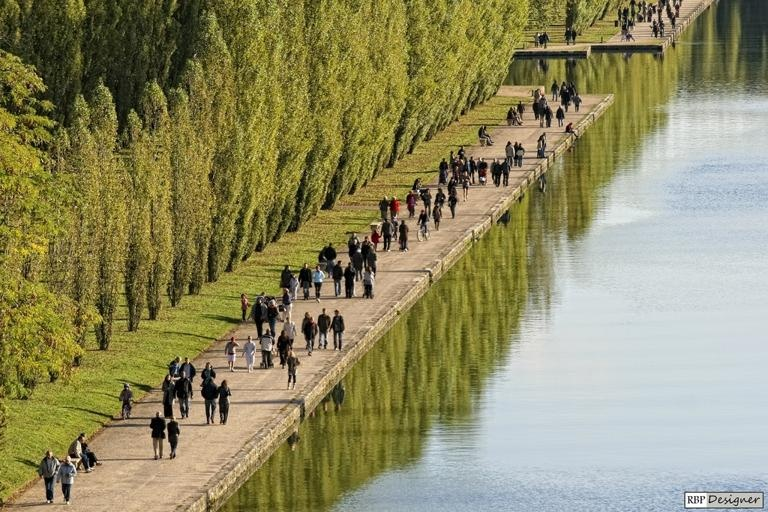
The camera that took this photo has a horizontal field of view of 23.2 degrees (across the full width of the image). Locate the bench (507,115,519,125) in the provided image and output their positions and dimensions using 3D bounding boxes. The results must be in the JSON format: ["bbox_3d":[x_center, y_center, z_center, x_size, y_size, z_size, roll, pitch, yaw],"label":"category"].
[{"bbox_3d":[7.224,-7.836,105.439,0.712,0.535,0.392,0,0,-8],"label":"bench"}]

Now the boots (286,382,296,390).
[{"bbox_3d":[-3.090,4.299,62.349,0.222,0.230,0.235,3,-18,-10],"label":"boots"}]

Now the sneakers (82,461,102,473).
[{"bbox_3d":[-8.890,6.452,56.965,0.570,0.246,0.193,-1,10,12],"label":"sneakers"}]
